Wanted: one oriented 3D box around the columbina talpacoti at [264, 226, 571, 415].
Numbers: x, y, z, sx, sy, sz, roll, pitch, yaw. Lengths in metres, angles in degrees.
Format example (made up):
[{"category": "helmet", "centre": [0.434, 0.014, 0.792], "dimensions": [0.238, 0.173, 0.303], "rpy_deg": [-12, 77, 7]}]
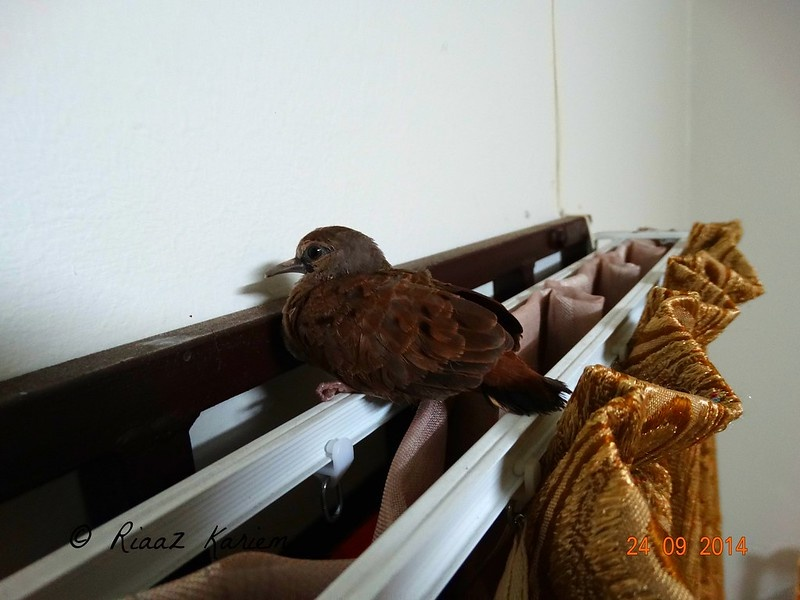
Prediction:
[{"category": "columbina talpacoti", "centre": [0.011, 0.024, 0.771], "dimensions": [0.402, 0.224, 0.206], "rpy_deg": [4, 13, 18]}]
